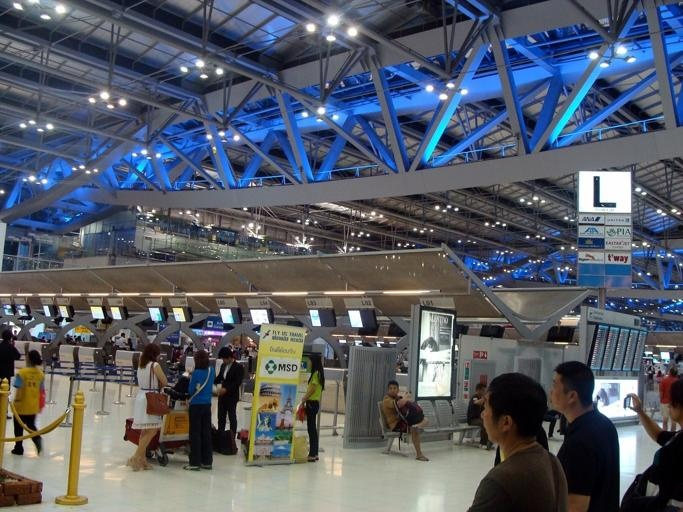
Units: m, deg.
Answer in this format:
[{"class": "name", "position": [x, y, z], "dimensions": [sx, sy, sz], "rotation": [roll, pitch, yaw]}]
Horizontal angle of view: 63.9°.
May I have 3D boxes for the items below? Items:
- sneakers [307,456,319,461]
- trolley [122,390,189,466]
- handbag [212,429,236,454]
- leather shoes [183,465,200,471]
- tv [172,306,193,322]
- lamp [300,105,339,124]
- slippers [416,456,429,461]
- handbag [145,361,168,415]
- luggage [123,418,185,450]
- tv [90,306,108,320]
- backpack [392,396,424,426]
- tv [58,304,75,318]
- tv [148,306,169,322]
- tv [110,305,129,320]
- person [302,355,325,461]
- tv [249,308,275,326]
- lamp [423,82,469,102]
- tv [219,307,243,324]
[{"class": "sneakers", "position": [-0.559, 3.849, 10.378], "dimensions": [0.227, 0.070, 0.073], "rotation": [2, -8, 20]}, {"class": "trolley", "position": [-3.388, 3.112, 10.229], "dimensions": [1.177, 1.034, 0.830], "rotation": [1, -11, 33]}, {"class": "handbag", "position": [-2.296, 3.633, 10.644], "dimensions": [0.550, 0.320, 0.280], "rotation": [1, 0, 41]}, {"class": "leather shoes", "position": [-2.501, 3.516, 9.110], "dimensions": [0.269, 0.086, 0.135], "rotation": [0, -7, -1]}, {"class": "tv", "position": [-6.500, 2.397, 22.469], "dimensions": [0.885, 0.655, 0.370], "rotation": [-5, -10, 31]}, {"class": "lamp", "position": [-0.875, -5.562, 21.894], "dimensions": [1.938, 0.371, 1.772], "rotation": [1, 4, 23]}, {"class": "slippers", "position": [1.644, 4.143, 11.202], "dimensions": [0.233, 0.125, 0.100], "rotation": [-4, -5, 25]}, {"class": "handbag", "position": [-2.993, 2.193, 8.977], "dimensions": [0.162, 0.851, 0.383], "rotation": [-8, -12, 42]}, {"class": "luggage", "position": [-3.217, 3.272, 9.788], "dimensions": [0.951, 0.366, 0.751], "rotation": [25, -32, -33]}, {"class": "tv", "position": [-11.460, 2.654, 25.845], "dimensions": [0.408, 0.709, 1.656], "rotation": [8, -11, -43]}, {"class": "backpack", "position": [1.409, 3.230, 11.383], "dimensions": [0.628, 0.574, 0.340], "rotation": [4, -9, -26]}, {"class": "tv", "position": [-13.633, 2.751, 27.082], "dimensions": [0.690, 0.538, 0.351], "rotation": [-22, 1, 44]}, {"class": "tv", "position": [-7.842, 2.452, 23.392], "dimensions": [0.492, 0.602, 1.096], "rotation": [7, -10, -40]}, {"class": "tv", "position": [-10.025, 2.558, 24.607], "dimensions": [1.000, 0.697, 0.482], "rotation": [-5, -7, 27]}, {"class": "person", "position": [-0.547, 2.909, 10.501], "dimensions": [0.377, 2.025, 0.581], "rotation": [-2, -9, 12]}, {"class": "tv", "position": [-2.871, 2.145, 19.460], "dimensions": [0.483, 0.571, 1.173], "rotation": [5, -9, -35]}, {"class": "lamp", "position": [3.338, -5.127, 16.971], "dimensions": [0.949, 0.178, 0.863], "rotation": [12, 11, 16]}, {"class": "tv", "position": [-4.251, 2.287, 21.117], "dimensions": [1.035, 0.832, 0.513], "rotation": [-9, -16, 33]}]
